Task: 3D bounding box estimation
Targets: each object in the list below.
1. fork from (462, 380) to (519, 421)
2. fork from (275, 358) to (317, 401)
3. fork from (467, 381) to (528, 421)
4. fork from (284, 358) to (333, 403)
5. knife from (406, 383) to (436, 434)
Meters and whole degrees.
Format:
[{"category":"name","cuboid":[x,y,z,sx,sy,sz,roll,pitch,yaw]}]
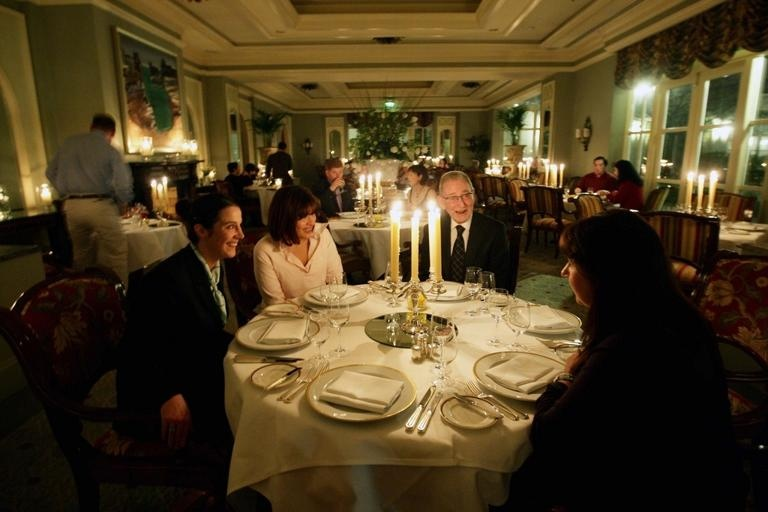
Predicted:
[{"category":"fork","cuboid":[0.516,0.692,2.441,0.047,0.045,0.290,-14,28,-30]},{"category":"fork","cuboid":[-0.409,0.618,2.553,0.069,0.054,0.353,15,15,5]},{"category":"fork","cuboid":[0.549,0.692,2.441,0.041,0.044,0.285,-14,29,-30]},{"category":"fork","cuboid":[-0.371,0.603,2.573,0.078,0.059,0.400,12,22,16]},{"category":"knife","cuboid":[0.184,0.709,2.403,0.068,0.017,0.272,11,26,21]}]
